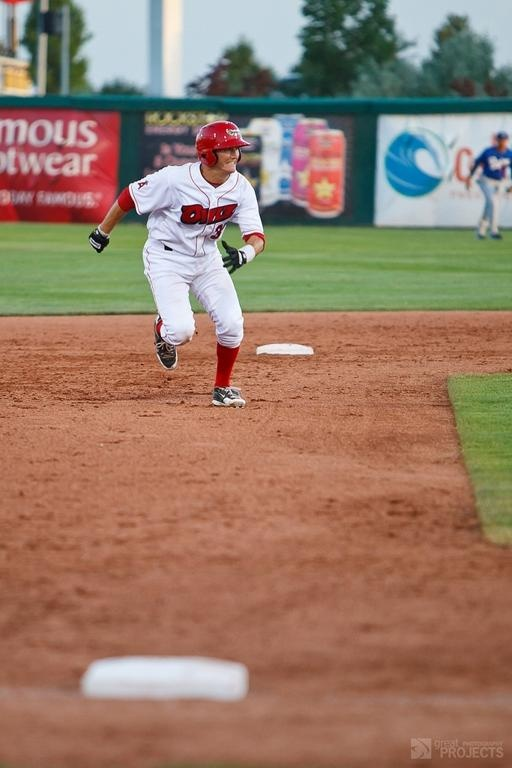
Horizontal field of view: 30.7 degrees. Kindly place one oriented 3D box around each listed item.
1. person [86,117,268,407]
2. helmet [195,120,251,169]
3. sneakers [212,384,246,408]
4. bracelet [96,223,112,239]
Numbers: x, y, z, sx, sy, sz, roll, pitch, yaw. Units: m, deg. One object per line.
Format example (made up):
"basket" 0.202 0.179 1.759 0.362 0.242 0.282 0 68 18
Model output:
"person" -0.357 -0.560 4.481 0.738 1.339 0.491 2 15 10
"helmet" -0.150 -1.093 4.214 0.225 0.207 0.263 -2 13 -7
"sneakers" -0.138 0.066 4.597 0.078 0.075 0.197 0 0 -41
"bracelet" -0.739 -0.783 4.670 0.073 0.069 0.083 6 36 -27
